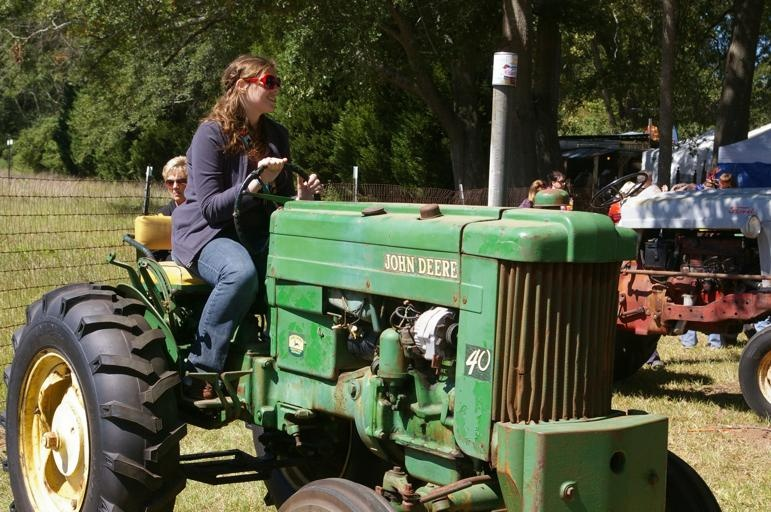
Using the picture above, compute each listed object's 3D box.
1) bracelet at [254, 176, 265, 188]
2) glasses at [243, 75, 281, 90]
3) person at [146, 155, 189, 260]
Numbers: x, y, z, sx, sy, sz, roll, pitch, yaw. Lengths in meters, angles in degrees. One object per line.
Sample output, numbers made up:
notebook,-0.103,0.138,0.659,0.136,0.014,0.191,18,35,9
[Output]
bracelet,-0.914,-0.527,5.390,0.015,0.063,0.060,-34,51,-14
glasses,-0.922,-1.303,5.610,0.152,0.060,0.143,8,8,18
person,-2.129,-0.405,7.759,0.368,1.187,0.387,-5,4,14
